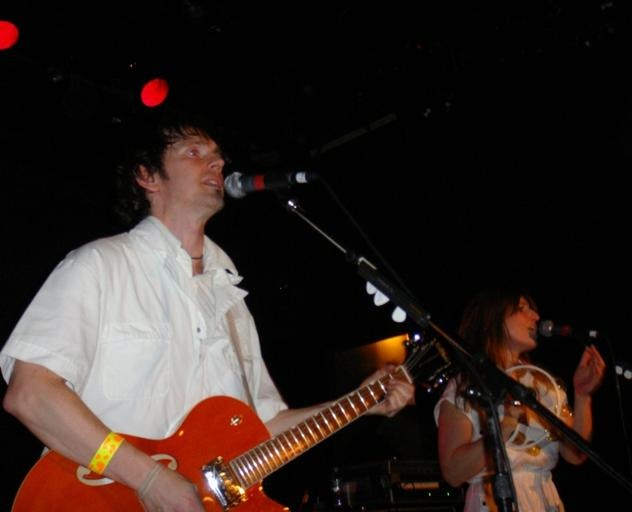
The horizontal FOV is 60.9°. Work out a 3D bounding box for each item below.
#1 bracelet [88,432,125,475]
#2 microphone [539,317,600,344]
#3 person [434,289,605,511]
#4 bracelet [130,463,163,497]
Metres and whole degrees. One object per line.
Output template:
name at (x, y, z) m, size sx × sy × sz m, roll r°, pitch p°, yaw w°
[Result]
bracelet at (-0.923, 0.870, 2.373) m, size 0.114 × 0.164 × 0.080 m, roll 22°, pitch -28°, yaw -21°
microphone at (1.955, 0.572, 4.111) m, size 0.439 × 0.174 × 0.166 m, roll 7°, pitch -71°, yaw 19°
person at (1.358, 0.993, 3.520) m, size 0.718 × 1.721 × 0.679 m, roll 28°, pitch -50°, yaw -21°
bracelet at (-0.746, 0.997, 2.381) m, size 0.025 × 0.107 × 0.116 m, roll 24°, pitch -47°, yaw 1°
